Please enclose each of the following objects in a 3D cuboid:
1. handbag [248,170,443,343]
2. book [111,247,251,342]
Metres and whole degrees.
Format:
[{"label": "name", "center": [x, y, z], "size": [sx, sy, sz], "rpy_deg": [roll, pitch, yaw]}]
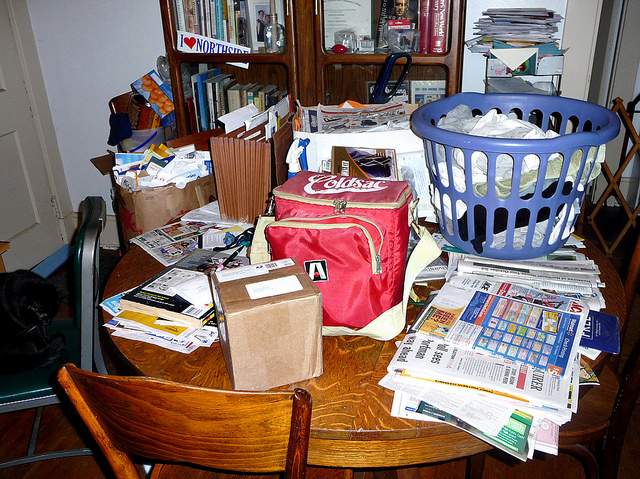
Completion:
[{"label": "handbag", "center": [0.055, 0.032, 1.270], "size": [0.472, 0.355, 0.346], "rpy_deg": [8, 24, 23]}, {"label": "book", "center": [-0.372, 0.119, 1.181], "size": [0.202, 0.046, 0.202], "rpy_deg": [-2, 38, 10]}]
